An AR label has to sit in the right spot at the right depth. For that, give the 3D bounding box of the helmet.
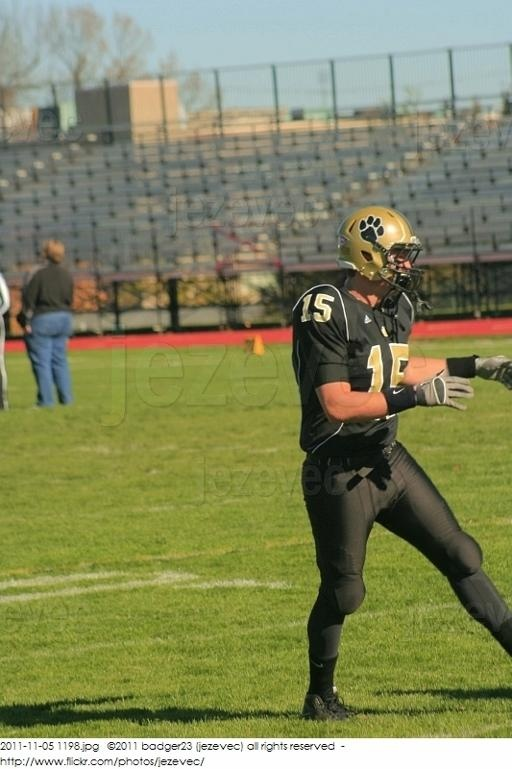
[{"bbox_3d":[0.377,-0.440,3.682,0.287,0.212,0.193,12,16,13],"label":"helmet"}]

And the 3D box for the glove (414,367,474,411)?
[{"bbox_3d":[0.575,0.026,3.568,0.145,0.120,0.315,-1,8,20],"label":"glove"}]

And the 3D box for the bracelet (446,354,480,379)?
[{"bbox_3d":[0.650,-0.059,3.791,0.090,0.079,0.039,6,-11,36],"label":"bracelet"}]

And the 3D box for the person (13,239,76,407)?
[{"bbox_3d":[-1.077,-0.253,6.276,0.302,0.750,0.256,-11,11,-31],"label":"person"}]

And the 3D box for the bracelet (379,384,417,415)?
[{"bbox_3d":[0.412,0.044,3.437,0.095,0.072,0.067,-4,8,2],"label":"bracelet"}]

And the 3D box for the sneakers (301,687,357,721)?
[{"bbox_3d":[0.212,0.991,3.669,0.211,0.081,0.068,3,1,-24],"label":"sneakers"}]
